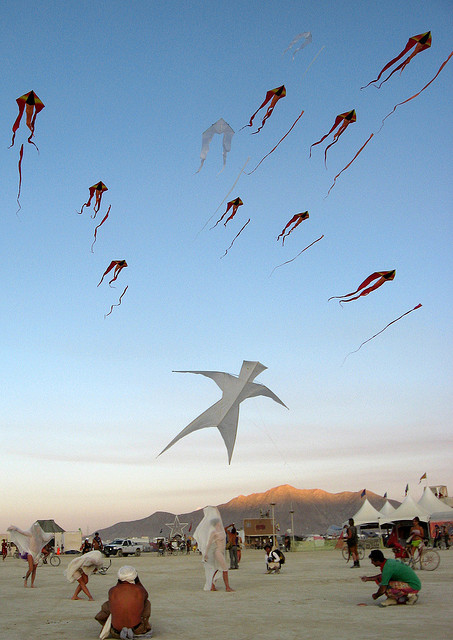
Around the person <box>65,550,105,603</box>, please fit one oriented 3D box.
[{"bbox_3d":[-2.440,4.440,11.293,0.736,0.877,0.556,-1,-8,16],"label":"person"}]

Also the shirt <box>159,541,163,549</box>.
[{"bbox_3d":[-4.266,14.855,42.516,0.178,0.398,0.496,-4,-16,8],"label":"shirt"}]

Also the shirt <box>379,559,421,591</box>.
[{"bbox_3d":[2.446,3.633,9.184,0.390,0.479,0.849,-12,-19,32],"label":"shirt"}]

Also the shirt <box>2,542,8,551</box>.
[{"bbox_3d":[-13.071,13.368,38.005,0.154,0.401,0.586,5,-17,-21],"label":"shirt"}]

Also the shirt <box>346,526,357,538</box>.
[{"bbox_3d":[3.625,6.103,18.555,0.241,0.330,0.600,-4,-16,7],"label":"shirt"}]

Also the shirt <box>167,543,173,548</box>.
[{"bbox_3d":[-3.816,15.110,43.263,0.148,0.279,0.758,4,-17,-20],"label":"shirt"}]

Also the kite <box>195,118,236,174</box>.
[{"bbox_3d":[-0.228,-4.377,16.476,0.896,2.146,0.203,-1,-30,16],"label":"kite"}]

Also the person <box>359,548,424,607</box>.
[{"bbox_3d":[2.407,3.709,9.247,0.538,0.769,0.934,-12,-19,34],"label":"person"}]

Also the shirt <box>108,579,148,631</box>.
[{"bbox_3d":[-1.070,3.162,7.028,0.385,0.629,0.632,-1,-7,-6],"label":"shirt"}]

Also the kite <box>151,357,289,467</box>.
[{"bbox_3d":[0.070,3.369,23.214,2.790,3.203,2.159,-14,-20,37],"label":"kite"}]

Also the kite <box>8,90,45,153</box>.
[{"bbox_3d":[-3.787,-3.817,12.297,0.571,1.338,0.148,9,-22,-12],"label":"kite"}]

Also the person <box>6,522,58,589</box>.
[{"bbox_3d":[-4.827,5.748,15.764,0.791,1.524,2.491,4,-16,-18],"label":"person"}]

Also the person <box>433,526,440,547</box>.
[{"bbox_3d":[10.496,10.755,32.095,0.290,0.954,1.747,-6,-16,15],"label":"person"}]

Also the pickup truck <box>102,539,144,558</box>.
[{"bbox_3d":[-6.584,14.551,40.882,2.046,1.136,3.963,-1,-16,-4],"label":"pickup truck"}]
